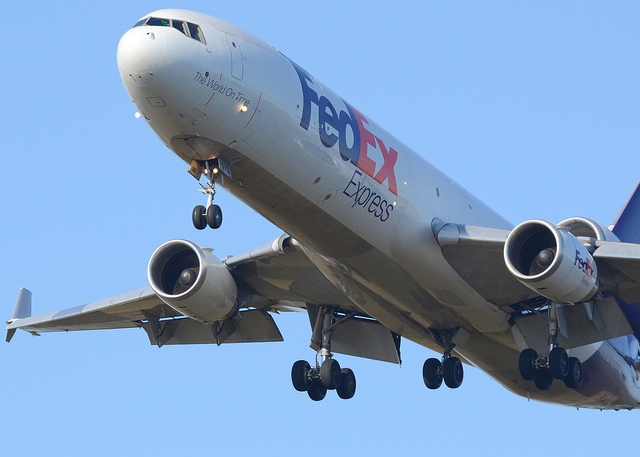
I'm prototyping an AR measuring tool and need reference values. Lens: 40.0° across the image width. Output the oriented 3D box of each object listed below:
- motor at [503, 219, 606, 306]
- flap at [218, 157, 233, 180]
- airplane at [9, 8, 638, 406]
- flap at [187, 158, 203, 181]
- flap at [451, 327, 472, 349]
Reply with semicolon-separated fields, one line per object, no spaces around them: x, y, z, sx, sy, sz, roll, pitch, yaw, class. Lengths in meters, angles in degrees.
4.288;0.705;16.198;0.875;1.131;2.271;2;-18;36;motor
-1.630;-1.015;15.056;0.060;0.271;0.263;-21;-22;20;flap
0.597;0.069;16.586;9.218;3.932;9.186;-24;-52;32;airplane
-2.147;-0.996;15.173;0.255;0.112;0.325;22;-55;-20;flap
2.963;2.269;18.336;0.366;0.098;0.401;32;-86;-26;flap
